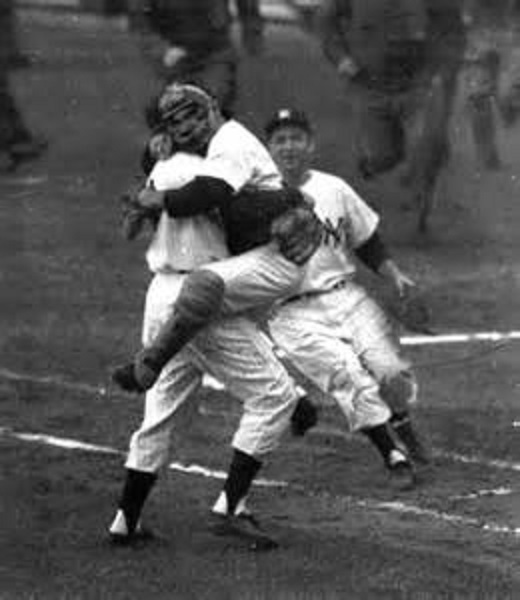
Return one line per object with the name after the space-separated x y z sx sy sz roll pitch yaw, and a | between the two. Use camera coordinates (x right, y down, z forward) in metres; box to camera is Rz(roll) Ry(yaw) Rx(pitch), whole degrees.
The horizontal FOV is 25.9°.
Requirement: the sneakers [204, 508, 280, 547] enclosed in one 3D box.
-0.063 0.821 4.112 0.300 0.127 0.099 16 -5 -1 | sneakers

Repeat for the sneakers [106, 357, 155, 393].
-0.428 0.262 3.951 0.136 0.133 0.063 35 34 -24 | sneakers

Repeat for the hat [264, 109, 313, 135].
0.131 -0.803 5.178 0.205 0.133 0.103 11 11 4 | hat

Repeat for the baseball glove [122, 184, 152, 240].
-0.459 -0.332 4.091 0.106 0.039 0.138 33 25 -8 | baseball glove

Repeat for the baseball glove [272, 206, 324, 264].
0.101 -0.248 3.988 0.215 0.214 0.068 -19 68 -50 | baseball glove

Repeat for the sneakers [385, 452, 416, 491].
0.582 0.696 4.628 0.151 0.077 0.213 -2 -23 6 | sneakers

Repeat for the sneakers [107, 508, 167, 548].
-0.425 0.832 4.162 0.276 0.175 0.088 -1 8 -13 | sneakers

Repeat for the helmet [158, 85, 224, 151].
-0.249 -0.657 4.091 0.245 0.235 0.169 9 12 -7 | helmet
